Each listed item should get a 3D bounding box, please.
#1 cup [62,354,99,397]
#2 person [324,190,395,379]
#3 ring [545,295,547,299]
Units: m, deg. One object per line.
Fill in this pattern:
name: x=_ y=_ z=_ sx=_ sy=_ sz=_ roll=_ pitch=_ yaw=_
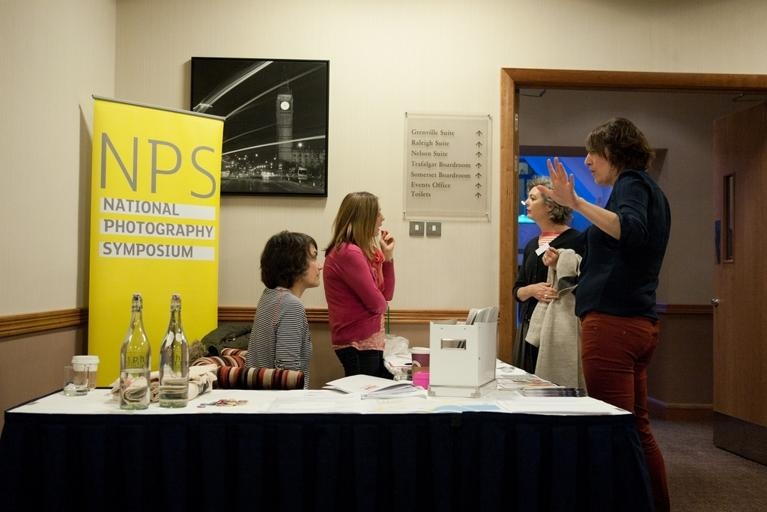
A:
cup: x=-1.492 y=0.584 z=3.029 sx=0.136 sy=0.199 sz=0.201 roll=5 pitch=-5 yaw=-37
person: x=-0.165 y=0.197 z=3.937 sx=0.431 sy=1.217 sz=0.276 roll=-1 pitch=3 yaw=-5
ring: x=1.081 y=0.273 z=4.095 sx=0.017 sy=0.016 sz=0.017 roll=1 pitch=6 yaw=0
